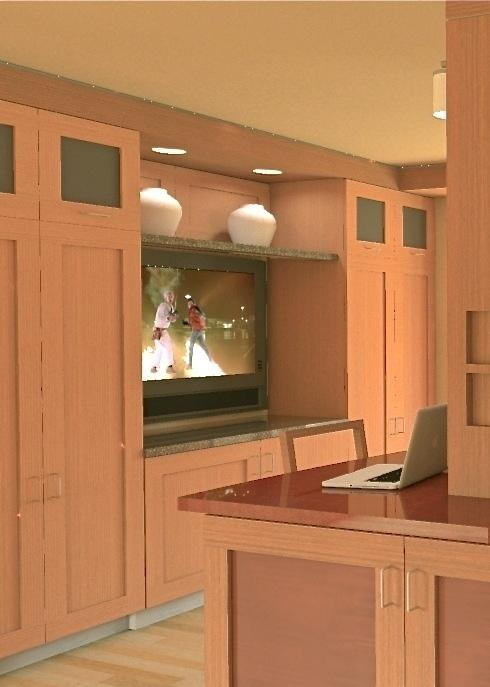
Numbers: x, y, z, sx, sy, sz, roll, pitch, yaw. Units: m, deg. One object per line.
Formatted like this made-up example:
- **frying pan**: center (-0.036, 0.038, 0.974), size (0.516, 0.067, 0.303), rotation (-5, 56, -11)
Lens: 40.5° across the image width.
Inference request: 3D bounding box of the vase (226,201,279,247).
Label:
- **vase**: center (0.074, -0.728, 4.257), size (0.341, 0.332, 0.301), rotation (0, -4, 7)

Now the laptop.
- **laptop**: center (0.348, 0.199, 1.647), size (0.231, 0.163, 0.314), rotation (-2, -3, 27)

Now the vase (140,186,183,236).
- **vase**: center (-0.485, -0.707, 3.530), size (0.148, 0.254, 0.319), rotation (1, 2, 29)

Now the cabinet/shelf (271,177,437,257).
- **cabinet/shelf**: center (0.762, -0.857, 4.735), size (1.065, 0.563, 0.470), rotation (0, 2, -29)
